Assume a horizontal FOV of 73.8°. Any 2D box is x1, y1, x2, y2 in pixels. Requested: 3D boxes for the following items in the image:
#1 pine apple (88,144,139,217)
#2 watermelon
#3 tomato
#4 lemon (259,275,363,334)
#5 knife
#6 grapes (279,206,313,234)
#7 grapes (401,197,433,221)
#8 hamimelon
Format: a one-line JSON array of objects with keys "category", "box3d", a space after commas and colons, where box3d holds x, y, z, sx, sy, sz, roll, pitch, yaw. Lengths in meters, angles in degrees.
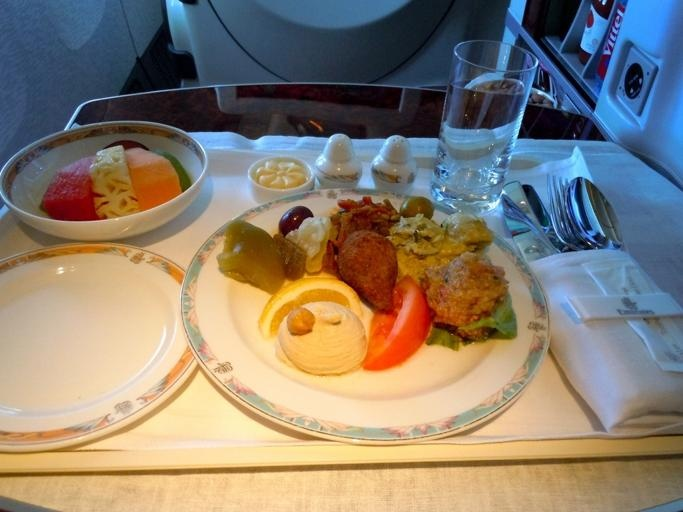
[{"category": "pine apple", "box3d": [-0.640, -0.232, 1.409, 0.161, 0.076, 0.286, -11, 81, -18]}, {"category": "watermelon", "box3d": [-0.790, -0.200, 1.406, 0.124, 0.101, 0.201, -10, 45, -4]}, {"category": "tomato", "box3d": [0.148, 0.177, 1.214, 0.138, 0.068, 0.287, 5, 46, 11]}, {"category": "lemon", "box3d": [-0.083, 0.131, 1.259, 0.285, 0.092, 0.143, -17, 45, -11]}, {"category": "knife", "box3d": [0.574, -0.101, 1.461, 0.080, 0.051, 0.300, -16, 54, 10]}, {"category": "grapes", "box3d": [-0.128, -0.109, 1.394, 0.117, 0.049, 0.085, -27, 48, -20]}, {"category": "grapes", "box3d": [0.232, -0.142, 1.417, 0.087, 0.063, 0.094, 25, 52, 28]}, {"category": "hamimelon", "box3d": [-0.561, -0.262, 1.469, 0.159, 0.171, 0.215, 22, 28, 33]}]
